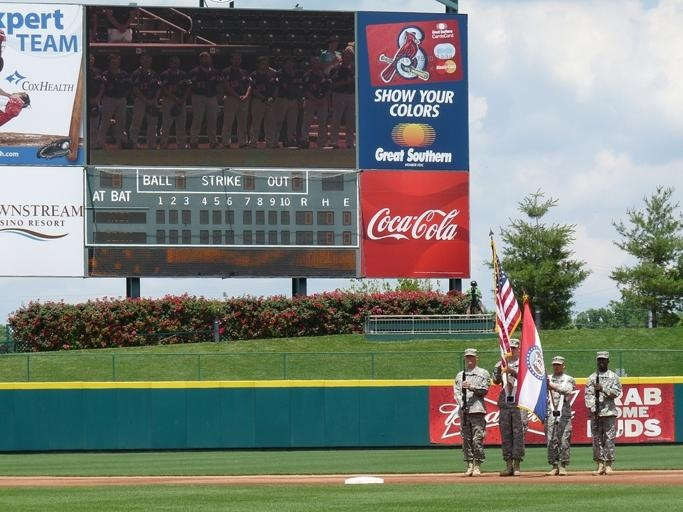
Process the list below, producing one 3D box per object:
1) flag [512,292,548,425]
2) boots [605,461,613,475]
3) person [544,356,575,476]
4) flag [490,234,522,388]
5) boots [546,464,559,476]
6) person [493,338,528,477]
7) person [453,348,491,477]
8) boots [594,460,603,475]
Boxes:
[{"bbox_3d":[5.618,3.133,58.538,0.746,3.288,0.999,2,0,13],"label":"flag"},{"bbox_3d":[7.955,6.315,59.043,0.206,0.333,0.538,-3,-6,19],"label":"boots"},{"bbox_3d":[6.474,4.757,59.019,0.844,3.499,0.694,-2,-6,9],"label":"person"},{"bbox_3d":[5.203,2.096,62.887,1.075,5.335,0.780,-1,-1,15],"label":"flag"},{"bbox_3d":[6.240,6.335,58.745,0.338,0.309,0.407,-1,-5,5],"label":"boots"},{"bbox_3d":[4.955,4.495,58.711,0.824,3.648,1.042,3,-1,-3],"label":"person"},{"bbox_3d":[3.849,4.537,58.758,1.232,3.461,0.899,1,-3,15],"label":"person"},{"bbox_3d":[7.657,6.295,59.137,0.319,0.391,0.706,-2,-5,7],"label":"boots"}]
